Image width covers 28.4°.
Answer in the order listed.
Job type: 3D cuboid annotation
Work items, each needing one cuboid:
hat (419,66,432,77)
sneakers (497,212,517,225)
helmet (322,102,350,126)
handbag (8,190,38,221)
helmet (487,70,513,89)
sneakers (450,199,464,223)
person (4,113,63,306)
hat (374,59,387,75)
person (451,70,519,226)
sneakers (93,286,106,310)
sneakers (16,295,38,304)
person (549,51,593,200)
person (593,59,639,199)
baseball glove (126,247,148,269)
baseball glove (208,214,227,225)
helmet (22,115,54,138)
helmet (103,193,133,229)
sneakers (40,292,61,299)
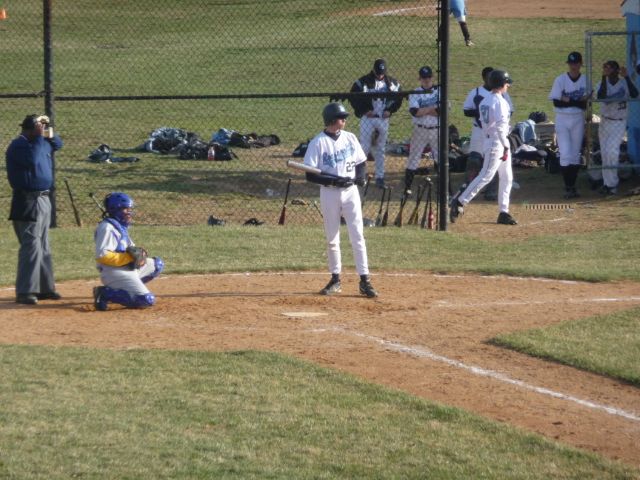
[{"bbox_3d":[2.093,-3.366,25.055,0.260,0.233,0.434,-1,7,4],"label":"hat"},{"bbox_3d":[3.540,-0.412,23.483,0.479,0.246,0.154,-1,14,11],"label":"sneakers"},{"bbox_3d":[0.225,-1.956,19.432,0.386,0.357,0.349,-1,7,0],"label":"helmet"},{"bbox_3d":[-4.476,-0.522,19.053,0.484,0.415,0.458,2,-3,-37],"label":"handbag"},{"bbox_3d":[3.235,-2.926,22.978,0.352,0.362,0.434,0,7,8],"label":"helmet"},{"bbox_3d":[2.551,-0.553,23.564,0.243,0.495,0.181,6,10,-33],"label":"sneakers"},{"bbox_3d":[-4.352,-0.478,19.241,0.553,2.870,0.843,6,10,43],"label":"person"},{"bbox_3d":[1.171,-3.477,25.114,0.270,0.292,0.302,0,15,-3],"label":"hat"},{"bbox_3d":[3.082,-1.699,23.213,1.026,2.854,0.536,0,7,8],"label":"person"},{"bbox_3d":[-3.306,0.864,18.948,0.189,0.366,0.150,-11,0,26],"label":"sneakers"},{"bbox_3d":[-4.428,0.916,19.102,0.341,0.126,0.115,0,38,2],"label":"sneakers"},{"bbox_3d":[4.820,-2.245,24.632,0.653,2.854,0.616,0,7,9],"label":"person"},{"bbox_3d":[5.744,-2.205,24.633,0.719,2.630,1.430,0,7,12],"label":"person"},{"bbox_3d":[-2.762,0.274,18.966,0.130,0.336,0.242,17,41,-29],"label":"baseball glove"},{"bbox_3d":[-1.949,-0.373,23.479,0.258,0.094,0.237,3,6,-14],"label":"baseball glove"},{"bbox_3d":[-4.294,-1.754,19.261,0.460,0.296,0.316,-7,15,-40],"label":"helmet"},{"bbox_3d":[-3.027,-0.468,18.860,0.544,0.500,0.426,5,11,-2],"label":"helmet"},{"bbox_3d":[-4.139,0.867,19.322,0.346,0.127,0.107,-5,19,-11],"label":"sneakers"}]
